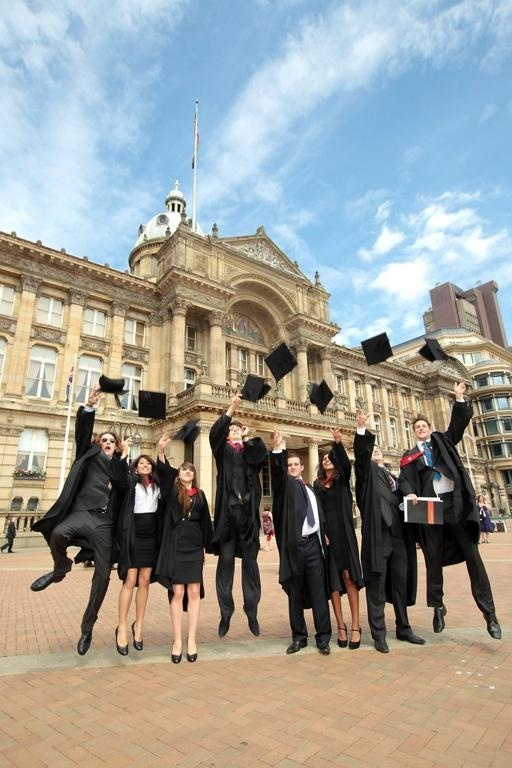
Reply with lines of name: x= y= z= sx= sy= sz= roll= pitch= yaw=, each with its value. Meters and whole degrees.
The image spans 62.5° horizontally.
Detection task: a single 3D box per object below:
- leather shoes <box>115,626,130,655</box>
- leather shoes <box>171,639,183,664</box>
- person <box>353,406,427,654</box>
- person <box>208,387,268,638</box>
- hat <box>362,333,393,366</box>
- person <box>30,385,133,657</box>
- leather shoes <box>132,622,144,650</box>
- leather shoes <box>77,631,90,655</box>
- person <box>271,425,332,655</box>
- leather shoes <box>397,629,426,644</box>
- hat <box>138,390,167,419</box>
leather shoes: x=-1.379 y=2.627 z=4.343 sx=0.109 sy=0.261 sz=0.108 roll=0 pitch=-13 yaw=-4
leather shoes: x=-0.801 y=2.617 z=4.179 sx=0.104 sy=0.254 sz=0.087 roll=-2 pitch=-21 yaw=5
person: x=1.497 y=1.619 z=5.032 sx=0.613 sy=2.700 sz=0.927 roll=-13 pitch=-18 yaw=39
person: x=-0.212 y=1.566 z=5.133 sx=0.687 sy=2.941 sz=0.779 roll=-1 pitch=-14 yaw=-3
hat: x=2.199 y=-0.602 z=7.762 sx=0.461 sy=0.596 sz=1.042 roll=-4 pitch=-12 yaw=14
person: x=-1.884 y=1.424 z=4.569 sx=0.908 sy=2.814 sz=0.678 roll=4 pitch=-15 yaw=-22
leather shoes: x=-1.298 y=2.736 z=4.626 sx=0.105 sy=0.269 sz=0.271 roll=2 pitch=-12 yaw=-14
leather shoes: x=-1.775 y=2.639 z=4.344 sx=0.105 sy=0.275 sz=0.266 roll=4 pitch=-13 yaw=-22
person: x=0.492 y=1.737 z=4.909 sx=0.617 sy=2.416 sz=0.630 roll=-3 pitch=-14 yaw=5
leather shoes: x=1.719 y=2.803 z=4.751 sx=0.107 sy=0.111 sz=0.305 roll=11 pitch=-19 yaw=-36
hat: x=-1.897 y=0.359 z=7.679 sx=0.434 sy=0.581 sz=0.729 roll=3 pitch=-12 yaw=-16
